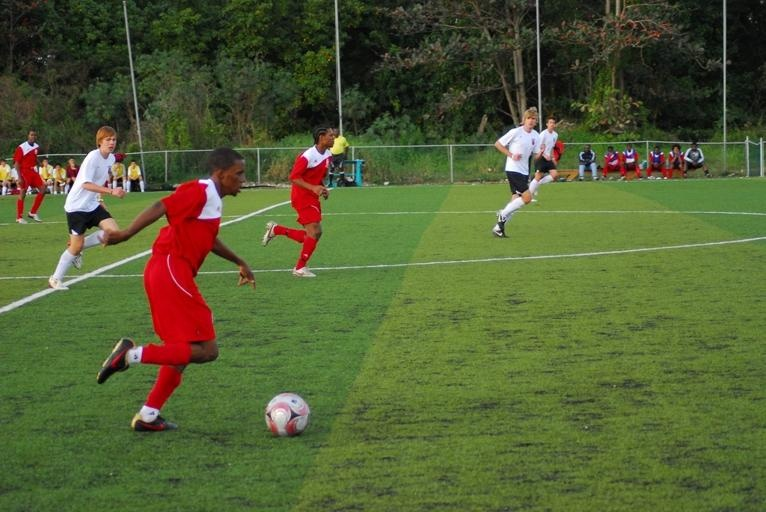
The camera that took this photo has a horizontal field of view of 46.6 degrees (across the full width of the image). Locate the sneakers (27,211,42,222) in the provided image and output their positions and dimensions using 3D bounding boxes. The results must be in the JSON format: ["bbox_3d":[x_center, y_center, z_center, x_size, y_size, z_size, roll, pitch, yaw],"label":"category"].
[{"bbox_3d":[-7.972,-0.893,20.258,0.454,0.190,0.165,23,19,28],"label":"sneakers"}]

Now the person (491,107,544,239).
[{"bbox_3d":[2.340,-1.490,15.554,0.706,2.251,1.364,2,5,9],"label":"person"}]

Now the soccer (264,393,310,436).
[{"bbox_3d":[-0.847,1.382,7.853,0.375,0.354,0.363,-7,11,-11],"label":"soccer"}]

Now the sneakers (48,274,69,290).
[{"bbox_3d":[-4.316,0.343,11.789,0.225,0.185,0.331,-1,6,-21],"label":"sneakers"}]

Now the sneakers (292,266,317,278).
[{"bbox_3d":[-1.078,0.220,12.254,0.337,0.143,0.128,0,11,-5],"label":"sneakers"}]

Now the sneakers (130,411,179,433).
[{"bbox_3d":[-2.045,1.489,7.963,0.439,0.175,0.150,1,2,-12],"label":"sneakers"}]

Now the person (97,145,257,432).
[{"bbox_3d":[-1.854,0.274,8.075,1.183,2.527,0.846,1,5,0],"label":"person"}]

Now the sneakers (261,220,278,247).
[{"bbox_3d":[-1.852,-0.347,14.477,0.231,0.507,0.174,5,45,-25],"label":"sneakers"}]

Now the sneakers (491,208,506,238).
[{"bbox_3d":[2.022,-0.553,15.165,0.264,0.517,0.175,4,-1,-29],"label":"sneakers"}]

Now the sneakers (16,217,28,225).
[{"bbox_3d":[-7.979,-0.771,19.552,0.271,0.104,0.152,2,7,42],"label":"sneakers"}]
